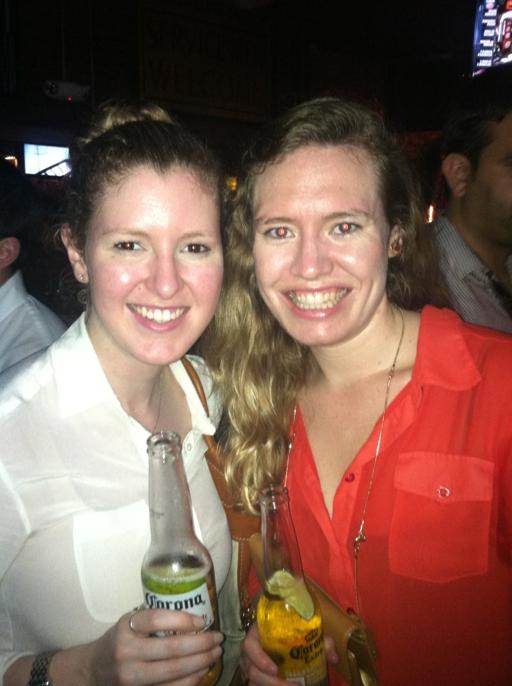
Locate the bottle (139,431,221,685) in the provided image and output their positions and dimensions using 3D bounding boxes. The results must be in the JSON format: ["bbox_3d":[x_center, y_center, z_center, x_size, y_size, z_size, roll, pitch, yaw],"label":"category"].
[{"bbox_3d":[-0.177,0.547,1.390,0.180,0.666,0.185,0,14,0],"label":"bottle"}]

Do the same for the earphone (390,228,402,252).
[{"bbox_3d":[0.464,-0.343,1.959,0.052,0.072,0.026,-4,7,-45],"label":"earphone"}]
